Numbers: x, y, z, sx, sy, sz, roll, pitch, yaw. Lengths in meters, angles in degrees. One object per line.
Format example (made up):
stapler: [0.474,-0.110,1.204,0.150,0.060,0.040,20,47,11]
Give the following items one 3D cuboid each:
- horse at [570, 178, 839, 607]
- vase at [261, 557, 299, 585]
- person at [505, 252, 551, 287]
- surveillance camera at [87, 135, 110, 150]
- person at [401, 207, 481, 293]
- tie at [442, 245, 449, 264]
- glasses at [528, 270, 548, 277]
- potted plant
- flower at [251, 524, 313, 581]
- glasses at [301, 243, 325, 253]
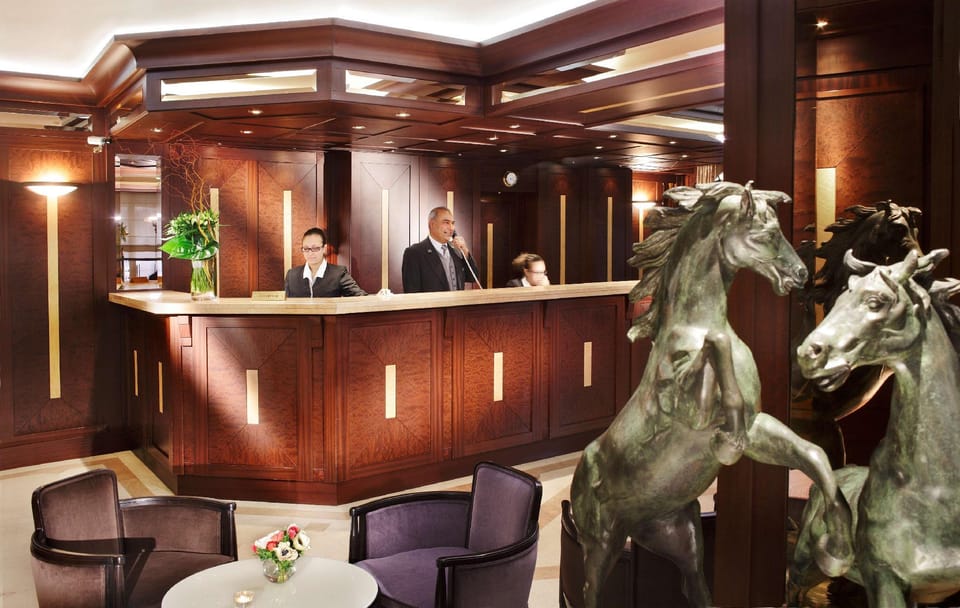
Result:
horse: [0.645,0.295,2.198,0.786,1.312,0.262,-2,3,10]
vase: [-0.955,1.255,3.529,0.145,0.093,0.136,-1,-1,18]
person: [0.480,-0.345,7.539,0.364,0.316,1.054,-2,3,2]
surveillance camera: [-3.699,-1.560,7.154,0.186,0.102,0.175,-1,-2,14]
person: [-0.268,-0.559,7.581,0.824,0.825,0.705,-5,4,-36]
tie: [-0.350,-0.508,7.612,0.037,0.138,0.116,5,5,22]
glasses: [0.590,-0.311,7.504,0.108,0.053,0.327,-1,4,21]
potted plant: [-2.333,-0.433,6.414,0.793,0.735,0.707,-6,2,-22]
flower: [-0.967,1.200,3.522,0.261,0.216,0.231,3,-6,16]
glasses: [-1.486,-0.492,6.590,0.182,0.062,0.141,-3,4,-14]
